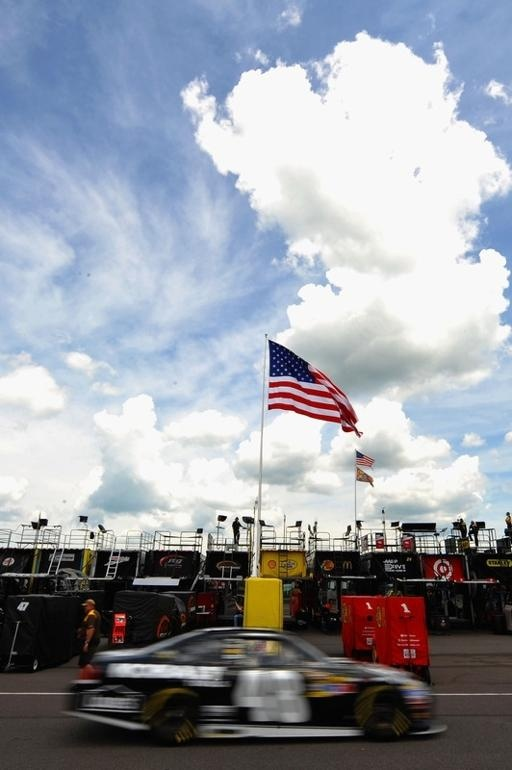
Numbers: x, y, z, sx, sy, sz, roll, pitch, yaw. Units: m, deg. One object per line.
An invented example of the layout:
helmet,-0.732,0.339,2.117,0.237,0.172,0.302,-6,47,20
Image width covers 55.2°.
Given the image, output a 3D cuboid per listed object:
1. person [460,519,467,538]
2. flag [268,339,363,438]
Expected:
person,14.020,9.737,33.250,0.329,1.273,1.280,-3,-20,15
flag,1.596,0.100,17.100,3.368,3.500,0.477,14,-42,-11
